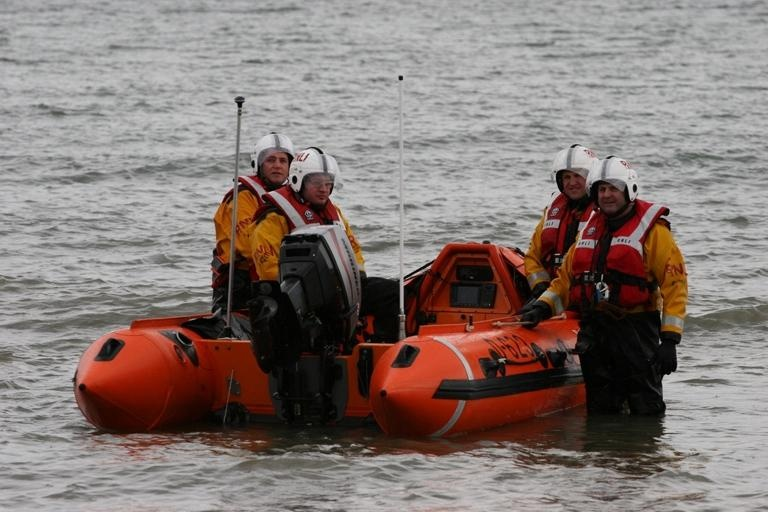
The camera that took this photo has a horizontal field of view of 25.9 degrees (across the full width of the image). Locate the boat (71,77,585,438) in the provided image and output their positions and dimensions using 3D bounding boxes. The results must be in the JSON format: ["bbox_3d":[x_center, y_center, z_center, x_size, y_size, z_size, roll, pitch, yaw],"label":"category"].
[{"bbox_3d":[-0.642,-0.441,32.039,8.716,6.075,8.861,1,9,3],"label":"boat"}]

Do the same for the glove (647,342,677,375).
[{"bbox_3d":[4.678,1.779,28.746,0.556,0.508,0.230,-5,0,30],"label":"glove"}]
